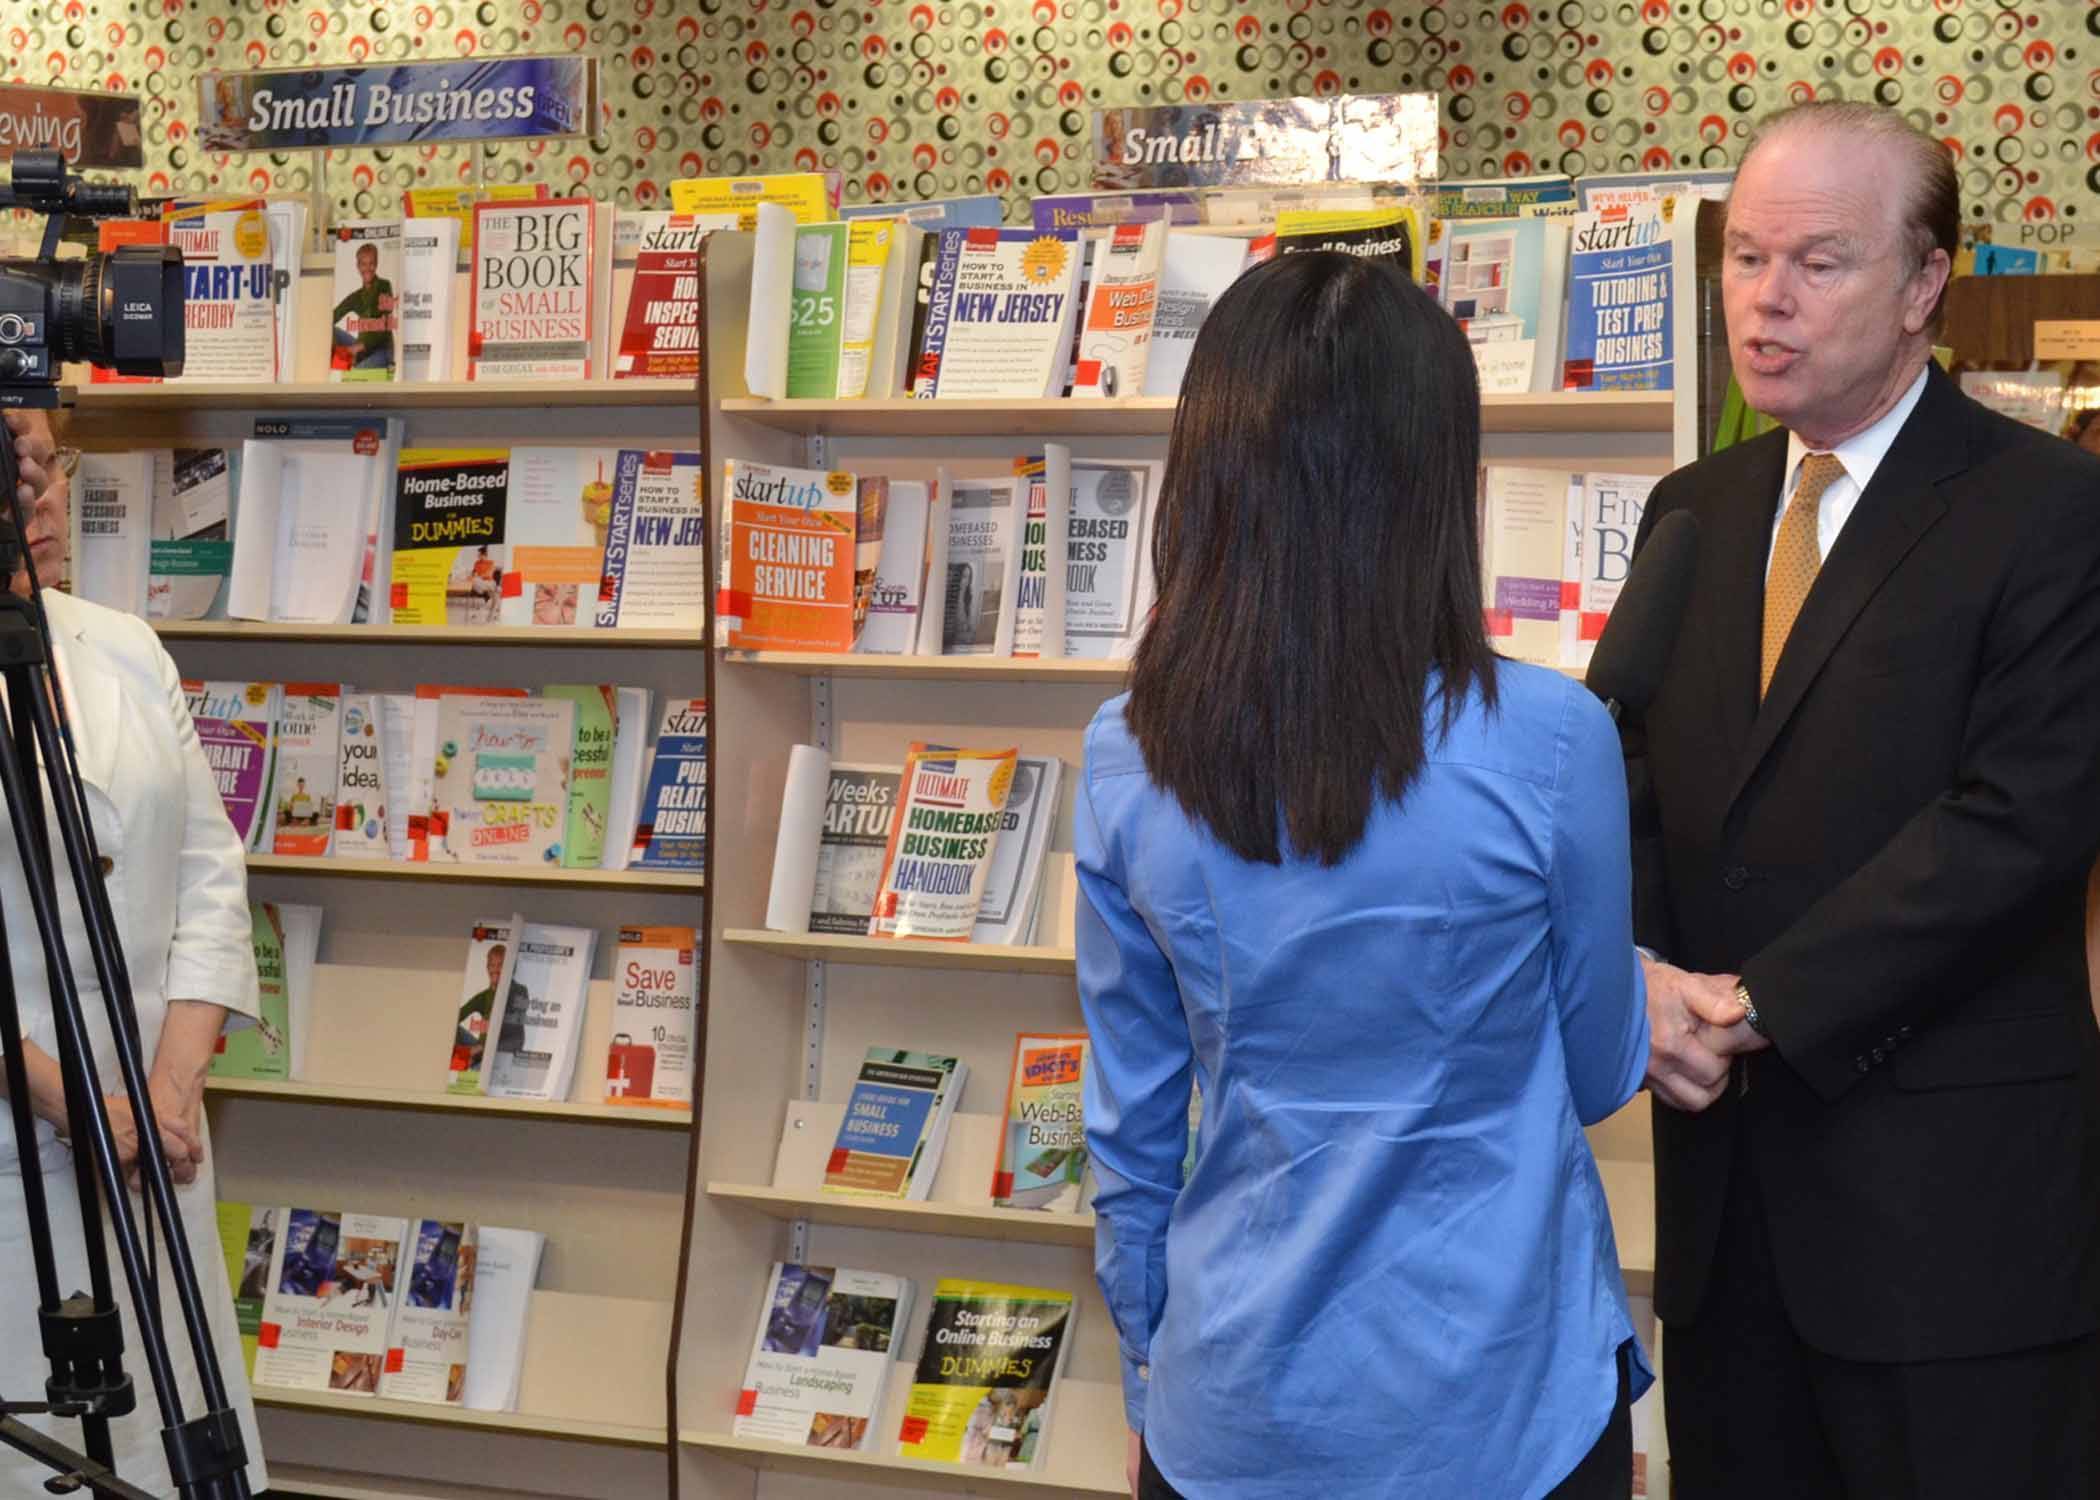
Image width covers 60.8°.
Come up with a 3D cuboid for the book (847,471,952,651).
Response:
[{"bbox_3d":[-0.320,-0.408,3.929,0.074,0.337,0.314,7,-7,-38],"label":"book"}]

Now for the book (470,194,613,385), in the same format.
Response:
[{"bbox_3d":[-1.161,-1.059,4.094,0.333,0.397,0.257,-3,16,-13],"label":"book"}]

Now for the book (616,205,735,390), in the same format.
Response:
[{"bbox_3d":[-0.845,-1.024,4.021,0.250,0.358,0.289,4,16,14],"label":"book"}]

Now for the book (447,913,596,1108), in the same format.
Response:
[{"bbox_3d":[-1.220,0.632,4.179,0.377,0.525,0.071,2,-20,8],"label":"book"}]

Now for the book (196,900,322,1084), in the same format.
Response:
[{"bbox_3d":[-1.895,0.589,4.339,0.326,0.436,0.039,-2,-5,21],"label":"book"}]

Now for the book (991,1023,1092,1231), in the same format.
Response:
[{"bbox_3d":[0.014,0.834,3.944,0.244,0.362,0.232,14,-24,-22],"label":"book"}]

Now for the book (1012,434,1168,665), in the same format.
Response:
[{"bbox_3d":[0.124,-0.423,3.766,0.399,0.432,0.098,-1,4,-24],"label":"book"}]

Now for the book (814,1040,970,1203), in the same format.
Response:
[{"bbox_3d":[-0.336,0.820,3.948,0.266,0.294,0.068,3,-33,31],"label":"book"}]
